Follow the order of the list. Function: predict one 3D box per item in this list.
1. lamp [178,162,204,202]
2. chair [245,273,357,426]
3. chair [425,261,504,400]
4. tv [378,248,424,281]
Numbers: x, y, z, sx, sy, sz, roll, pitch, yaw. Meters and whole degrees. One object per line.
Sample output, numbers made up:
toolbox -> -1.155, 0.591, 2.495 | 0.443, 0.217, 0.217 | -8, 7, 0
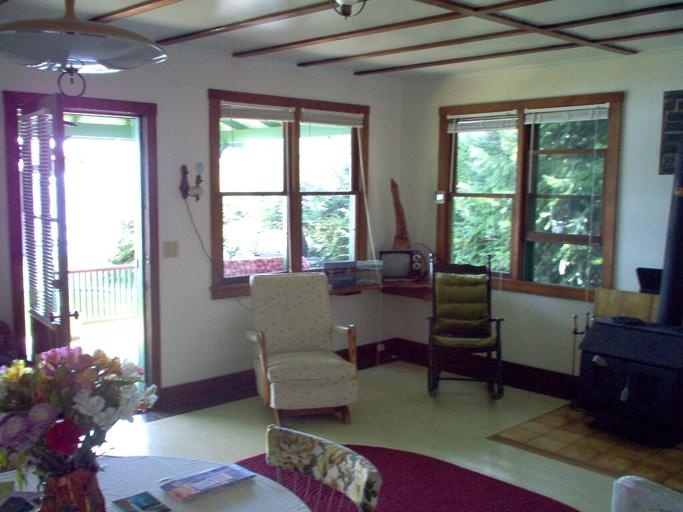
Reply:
lamp -> -1.350, -0.668, 4.903 | 0.243, 0.337, 0.058 | -6, 11, -41
chair -> -0.378, 0.806, 4.875 | 0.902, 1.196, 0.899 | -1, 9, -16
chair -> 1.270, 0.703, 5.457 | 0.757, 1.367, 0.957 | 2, 8, 9
tv -> 0.668, 0.091, 5.951 | 0.548, 0.305, 0.332 | 0, 0, -8
